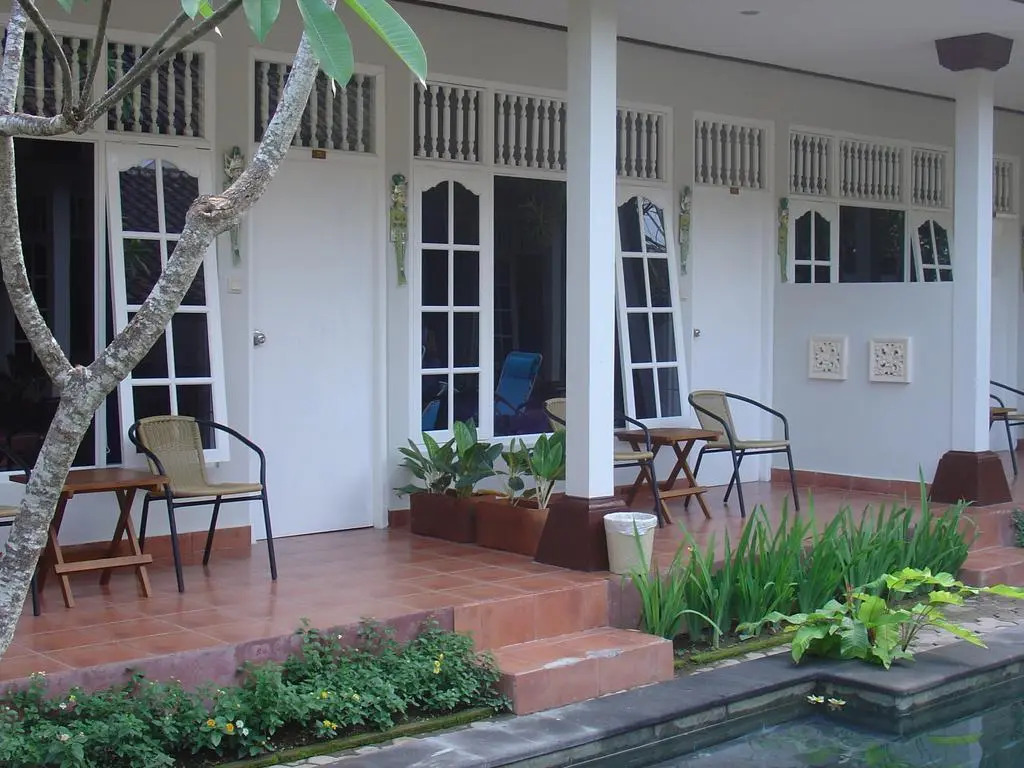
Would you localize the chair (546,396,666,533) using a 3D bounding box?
[{"bbox_3d":[0.952,0.644,6.938,1.084,1.593,0.860,-4,-4,43],"label":"chair"}]

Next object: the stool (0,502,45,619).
[{"bbox_3d":[-2.855,0.952,4.486,0.193,0.619,1.005,-1,3,-32],"label":"stool"}]

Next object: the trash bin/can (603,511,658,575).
[{"bbox_3d":[0.764,1.009,4.969,0.323,0.332,0.359,1,-3,2],"label":"trash bin/can"}]

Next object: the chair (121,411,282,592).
[{"bbox_3d":[-2.056,0.775,5.121,0.859,1.100,0.873,0,0,-31],"label":"chair"}]

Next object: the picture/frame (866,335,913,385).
[{"bbox_3d":[3.821,-0.232,7.753,0.085,0.540,0.447,1,1,-36],"label":"picture/frame"}]

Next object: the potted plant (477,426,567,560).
[{"bbox_3d":[0.074,0.791,5.818,0.557,0.855,0.965,-1,3,-27],"label":"potted plant"}]

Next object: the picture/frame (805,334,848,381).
[{"bbox_3d":[3.360,-0.275,8.185,0.076,0.572,0.458,3,-1,-40],"label":"picture/frame"}]

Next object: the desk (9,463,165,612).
[{"bbox_3d":[-2.520,0.785,4.781,0.808,0.866,0.867,0,-1,41],"label":"desk"}]

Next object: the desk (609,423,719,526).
[{"bbox_3d":[1.496,0.774,7.127,0.762,0.995,0.832,-2,2,-37],"label":"desk"}]

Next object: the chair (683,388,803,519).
[{"bbox_3d":[2.328,0.651,7.648,1.105,1.545,1.112,-1,0,-34],"label":"chair"}]

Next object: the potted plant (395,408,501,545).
[{"bbox_3d":[-0.379,0.703,6.418,0.919,0.954,0.845,2,0,45],"label":"potted plant"}]
